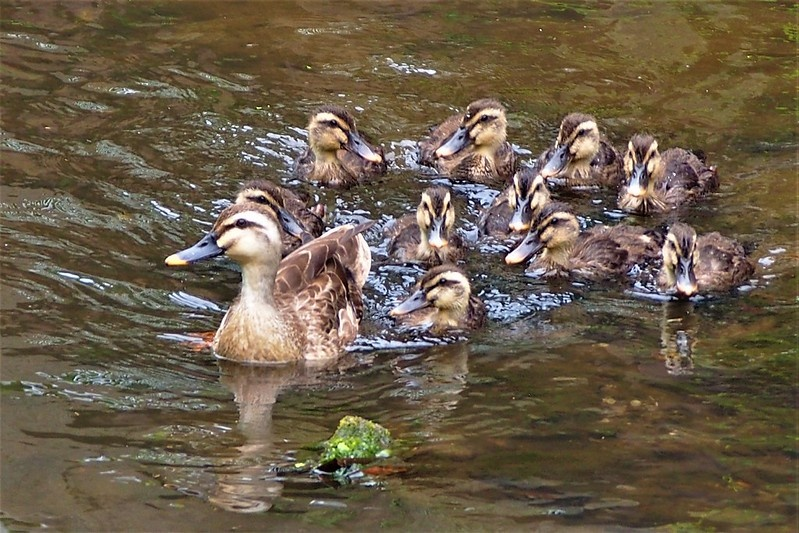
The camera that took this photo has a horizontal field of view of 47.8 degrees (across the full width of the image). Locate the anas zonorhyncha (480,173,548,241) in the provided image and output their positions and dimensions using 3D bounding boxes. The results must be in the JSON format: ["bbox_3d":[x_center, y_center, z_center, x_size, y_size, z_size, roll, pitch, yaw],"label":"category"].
[{"bbox_3d":[1.524,-0.837,11.654,0.669,1.145,0.557,25,-19,9],"label":"anas zonorhyncha"}]
